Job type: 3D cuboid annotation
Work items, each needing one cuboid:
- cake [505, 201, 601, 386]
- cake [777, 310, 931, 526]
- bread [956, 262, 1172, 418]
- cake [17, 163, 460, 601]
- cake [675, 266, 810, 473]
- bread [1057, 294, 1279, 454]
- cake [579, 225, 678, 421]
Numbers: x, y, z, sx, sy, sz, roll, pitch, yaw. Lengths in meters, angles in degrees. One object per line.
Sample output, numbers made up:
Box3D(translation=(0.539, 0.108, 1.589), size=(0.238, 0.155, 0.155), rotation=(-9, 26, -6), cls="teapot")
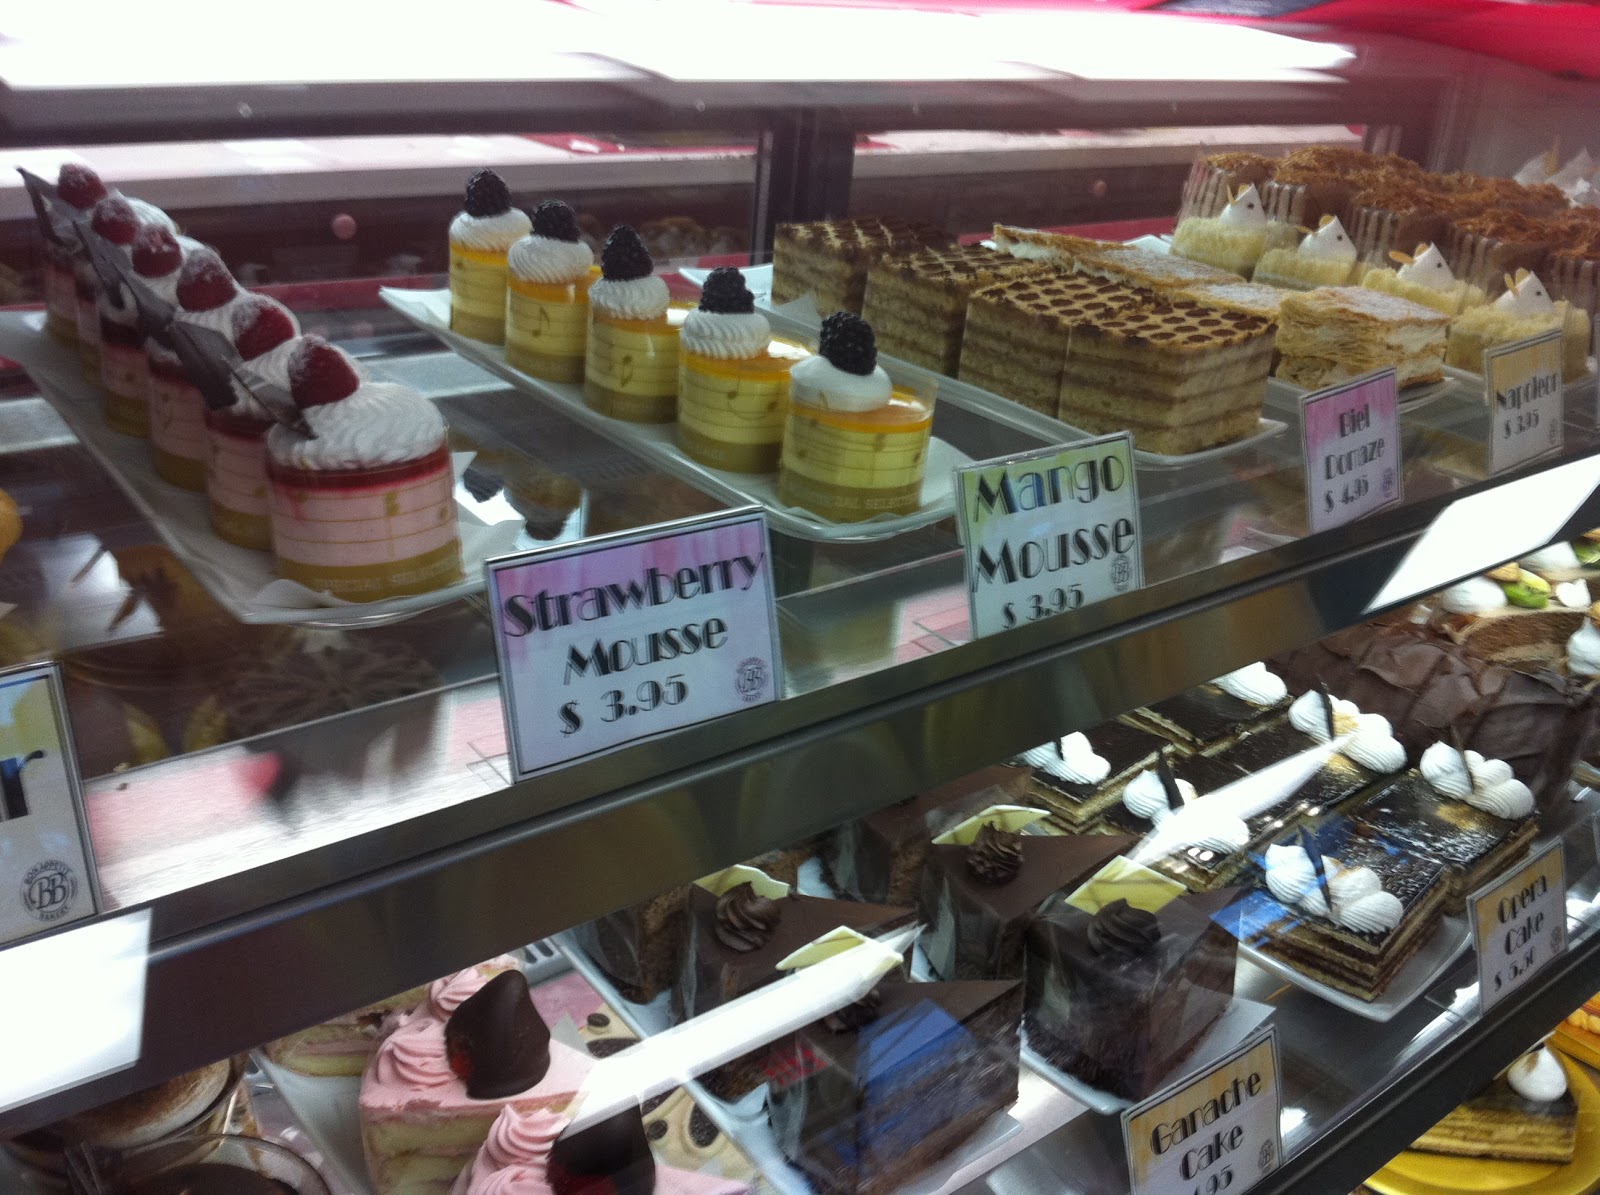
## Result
Box3D(translation=(-0.334, -0.416, 1.537), size=(0.125, 0.212, 0.116), rotation=(3, 29, -4), cls="cake")
Box3D(translation=(0.040, -0.200, 1.357), size=(0.197, 0.216, 0.195), rotation=(1, 10, -11), cls="cake")
Box3D(translation=(0.398, -0.450, 1.760), size=(0.270, 0.172, 0.262), rotation=(-21, 35, -33), cls="bread")
Box3D(translation=(-0.575, -0.219, 1.122), size=(0.564, 0.222, 0.184), rotation=(34, 46, 24), cls="cake")
Box3D(translation=(-0.041, -0.279, 1.443), size=(0.212, 0.231, 0.208), rotation=(-9, 18, -41), cls="cake")
Box3D(translation=(0.574, -0.336, 1.678), size=(0.256, 0.119, 0.251), rotation=(-4, 15, 23), cls="bread")
Box3D(translation=(-0.252, -0.347, 1.494), size=(0.141, 0.235, 0.148), rotation=(13, 22, 26), cls="cake")
